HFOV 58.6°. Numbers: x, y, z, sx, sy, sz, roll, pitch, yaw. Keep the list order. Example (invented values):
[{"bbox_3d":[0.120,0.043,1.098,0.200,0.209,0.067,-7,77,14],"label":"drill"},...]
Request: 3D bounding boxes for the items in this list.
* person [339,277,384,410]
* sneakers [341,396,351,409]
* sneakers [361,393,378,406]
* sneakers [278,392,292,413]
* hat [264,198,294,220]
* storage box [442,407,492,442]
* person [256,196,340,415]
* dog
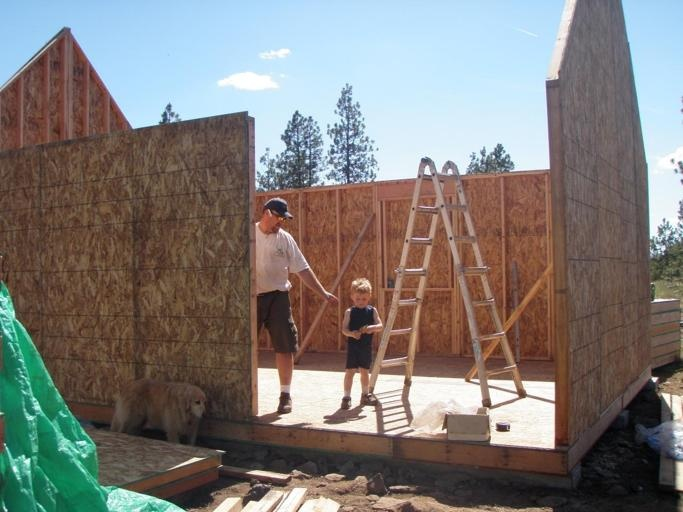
[{"bbox_3d":[0.183,0.820,5.835,0.395,1.215,0.564,-2,-4,3],"label":"person"},{"bbox_3d":[0.042,1.358,5.635,0.063,0.088,0.192,1,-12,2],"label":"sneakers"},{"bbox_3d":[0.253,1.367,5.780,0.202,0.102,0.071,-4,-3,26],"label":"sneakers"},{"bbox_3d":[-0.519,1.327,5.517,0.127,0.186,0.124,-1,-5,-7],"label":"sneakers"},{"bbox_3d":[-0.579,-0.443,5.651,0.238,0.159,0.177,16,4,-3],"label":"hat"},{"bbox_3d":[0.974,1.269,4.679,0.220,0.169,0.247,-2,-6,16],"label":"storage box"},{"bbox_3d":[-0.508,0.451,5.634,0.572,1.952,0.304,0,-4,-14],"label":"person"},{"bbox_3d":[-1.567,1.397,5.332,0.954,0.645,0.309,5,3,23],"label":"dog"}]
